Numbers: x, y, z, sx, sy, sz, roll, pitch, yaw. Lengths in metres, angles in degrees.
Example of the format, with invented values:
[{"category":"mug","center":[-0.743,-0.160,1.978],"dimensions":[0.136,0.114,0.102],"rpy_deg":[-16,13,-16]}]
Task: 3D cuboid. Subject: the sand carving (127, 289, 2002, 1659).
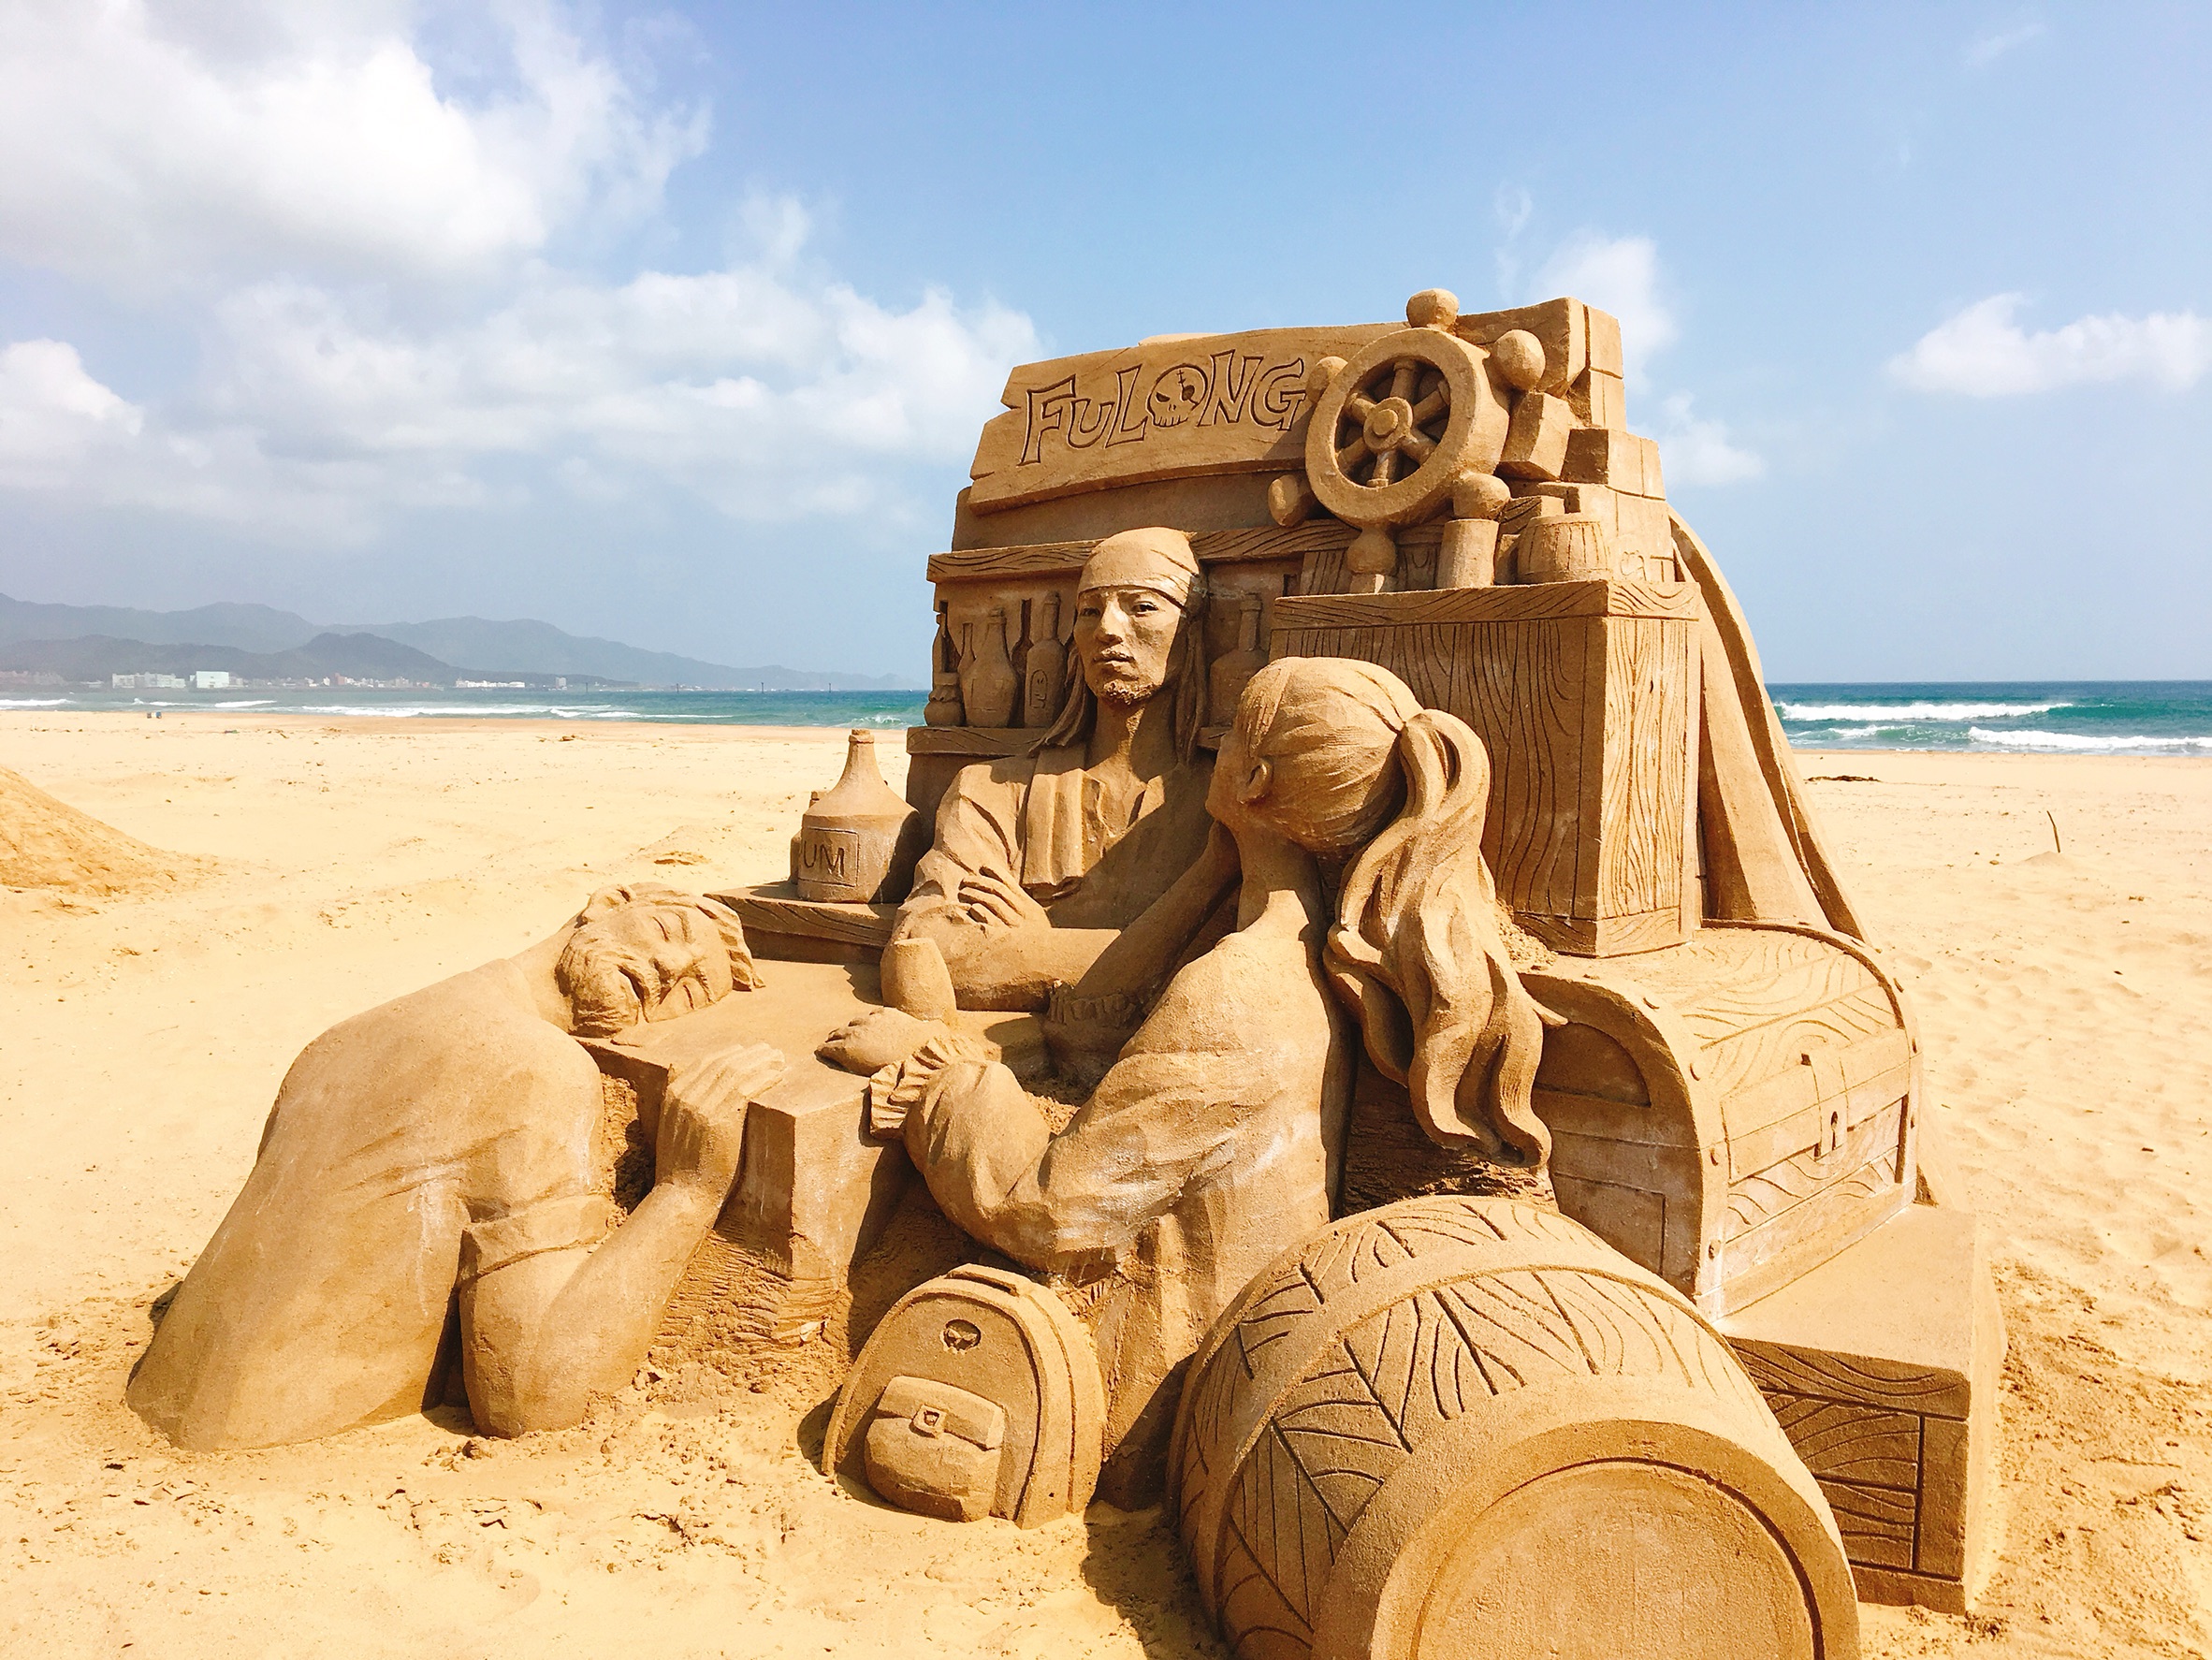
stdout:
[{"category":"sand carving","center":[-0.015,0.607,3.842],"dimensions":[2.997,2.148,2.300],"rpy_deg":[3,2,29]}]
